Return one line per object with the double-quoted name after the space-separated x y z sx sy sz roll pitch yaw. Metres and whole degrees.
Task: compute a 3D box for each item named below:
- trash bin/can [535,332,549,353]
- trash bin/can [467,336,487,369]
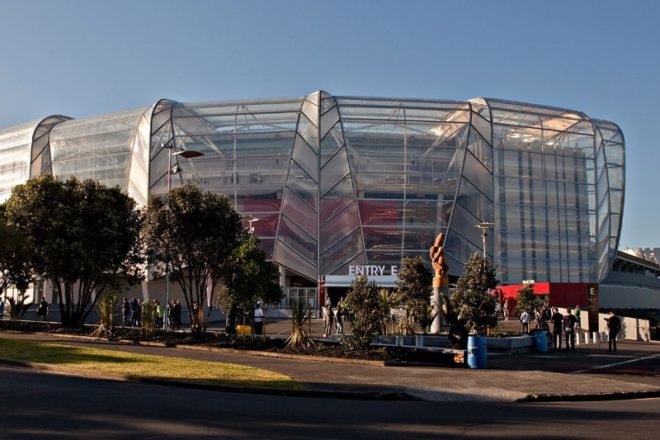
12.976 7.467 50.824 0.778 1.415 1.134 -3 -15 12 "trash bin/can"
7.628 6.832 42.953 0.943 1.682 0.639 0 -14 2 "trash bin/can"
